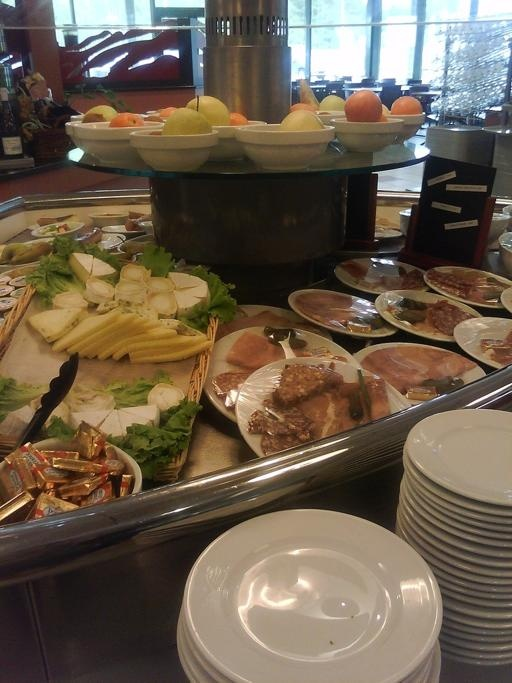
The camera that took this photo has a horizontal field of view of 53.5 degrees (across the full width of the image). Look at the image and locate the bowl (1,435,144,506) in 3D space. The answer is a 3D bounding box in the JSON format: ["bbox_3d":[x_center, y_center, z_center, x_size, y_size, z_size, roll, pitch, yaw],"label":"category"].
[{"bbox_3d":[-0.220,0.156,0.606,0.126,0.037,0.098,-12,22,-43],"label":"bowl"}]

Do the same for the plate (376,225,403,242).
[{"bbox_3d":[0.462,-0.373,1.754,0.093,0.029,0.154,5,23,12],"label":"plate"}]

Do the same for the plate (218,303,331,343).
[{"bbox_3d":[0.020,-0.053,1.138,0.134,0.018,0.113,-1,26,-3],"label":"plate"}]

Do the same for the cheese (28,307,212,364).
[{"bbox_3d":[-0.274,-0.018,0.959,0.372,0.090,0.113,5,24,12],"label":"cheese"}]

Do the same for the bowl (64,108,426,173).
[{"bbox_3d":[0.054,-0.483,1.219,0.973,0.125,0.616,-7,24,-16],"label":"bowl"}]

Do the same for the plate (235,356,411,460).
[{"bbox_3d":[0.071,0.087,0.769,0.169,0.038,0.158,-11,35,-13],"label":"plate"}]
